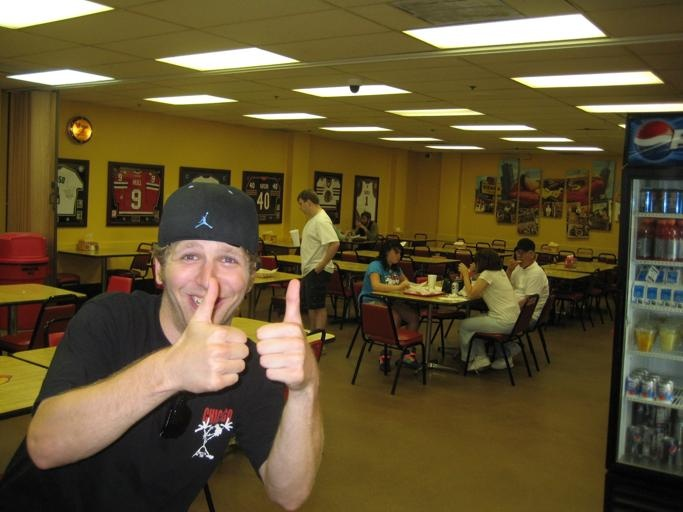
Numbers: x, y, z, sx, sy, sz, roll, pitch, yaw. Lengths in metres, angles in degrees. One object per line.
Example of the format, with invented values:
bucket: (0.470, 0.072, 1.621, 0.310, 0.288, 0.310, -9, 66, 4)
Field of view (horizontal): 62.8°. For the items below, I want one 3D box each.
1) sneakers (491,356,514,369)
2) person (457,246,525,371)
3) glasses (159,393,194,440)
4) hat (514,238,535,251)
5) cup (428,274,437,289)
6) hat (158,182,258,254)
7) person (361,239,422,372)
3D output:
sneakers: (1.932, 1.262, 6.604, 0.333, 0.129, 0.160, 0, -9, -25)
person: (1.694, 0.636, 6.545, 0.698, 1.400, 0.915, 6, 8, 14)
glasses: (-0.428, 0.426, 1.463, 0.029, 0.117, 0.087, 18, 23, 31)
hat: (2.428, -0.136, 7.372, 0.291, 0.152, 0.203, 7, -3, -30)
cup: (1.073, 0.294, 6.721, 0.094, 0.188, 0.345, 5, 8, 8)
hat: (-0.367, -0.114, 1.590, 0.202, 0.134, 0.265, 8, 8, -7)
person: (0.587, 0.550, 6.690, 0.746, 1.417, 1.130, 5, 8, 4)
